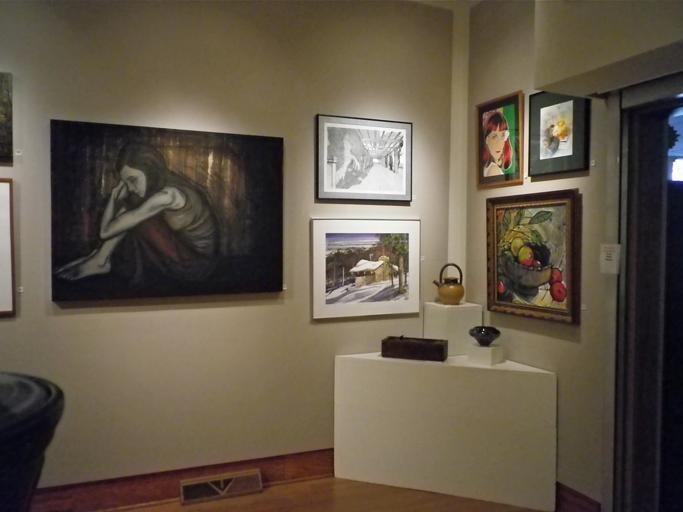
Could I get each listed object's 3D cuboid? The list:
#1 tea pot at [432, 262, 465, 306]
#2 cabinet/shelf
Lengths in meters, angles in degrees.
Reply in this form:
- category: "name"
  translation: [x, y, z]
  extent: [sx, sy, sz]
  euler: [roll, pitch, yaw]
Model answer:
- category: "tea pot"
  translation: [0.919, 0.260, 4.664]
  extent: [0.328, 0.453, 0.285]
  euler: [3, -2, 4]
- category: "cabinet/shelf"
  translation: [0.848, 1.329, 4.086]
  extent: [1.554, 1.266, 1.170]
  euler: [1, 1, 22]
